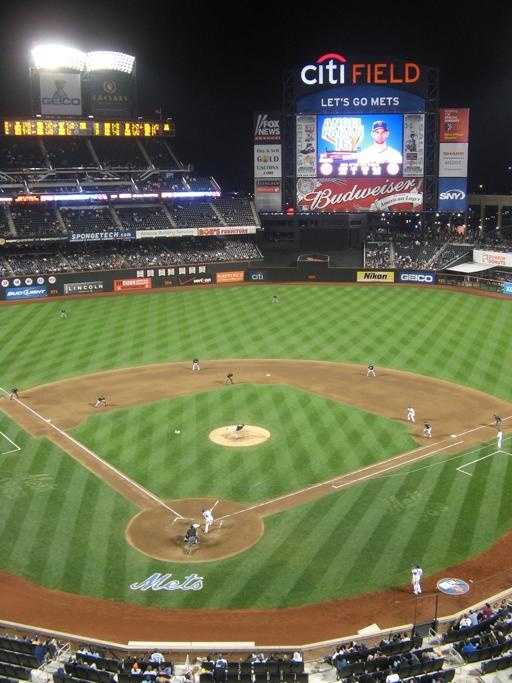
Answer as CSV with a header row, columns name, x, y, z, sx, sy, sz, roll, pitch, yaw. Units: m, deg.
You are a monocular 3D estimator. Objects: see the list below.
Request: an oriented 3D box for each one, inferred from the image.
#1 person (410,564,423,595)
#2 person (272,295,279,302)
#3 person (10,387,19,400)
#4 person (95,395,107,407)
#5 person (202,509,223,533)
name,x,y,z,sx,sy,sz,roll,pitch,yaw
person,4.681,6.839,18.856,0.315,1.054,0.928,3,16,14
person,1.691,-3.888,58.343,0.477,0.363,0.813,-19,-6,1
person,-13.760,2.875,36.555,0.413,0.564,1.039,-7,16,-20
person,-8.588,3.308,35.578,0.607,0.423,1.493,1,0,-12
person,-1.563,6.258,23.069,0.713,0.773,1.215,-3,15,-5
